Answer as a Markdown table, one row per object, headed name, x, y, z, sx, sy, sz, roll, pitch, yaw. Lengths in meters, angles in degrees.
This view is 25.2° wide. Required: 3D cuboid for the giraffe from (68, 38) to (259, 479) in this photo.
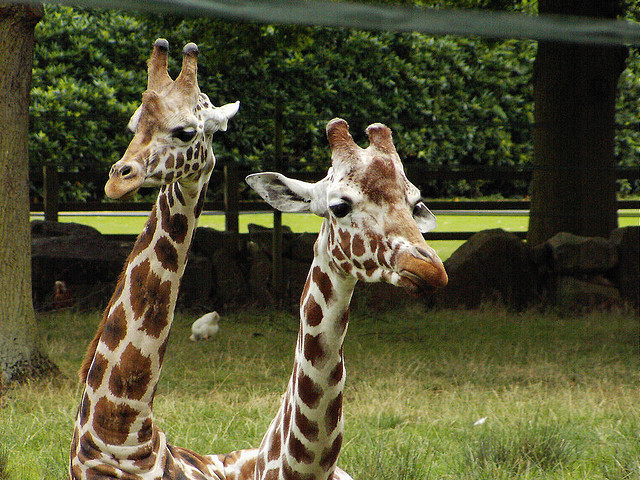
| name | x | y | z | sx | sy | sz | roll | pitch | yaw |
| --- | --- | --- | --- | --- | --- | --- | --- | --- | --- |
| giraffe | -1.411 | 0.217 | 12.264 | 1.339 | 3.836 | 0.499 | 1 | 3 | -13 |
